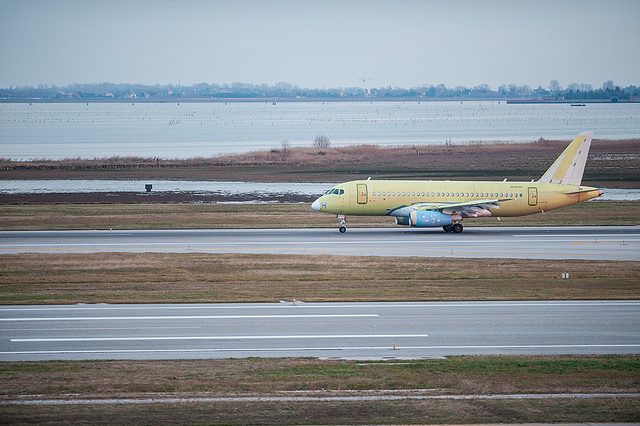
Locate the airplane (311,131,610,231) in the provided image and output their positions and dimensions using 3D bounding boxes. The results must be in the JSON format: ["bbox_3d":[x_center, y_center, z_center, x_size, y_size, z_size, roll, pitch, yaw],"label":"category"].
[{"bbox_3d":[23.614,-5.724,249.725,49.097,16.244,5.222,1,7,-7],"label":"airplane"}]
